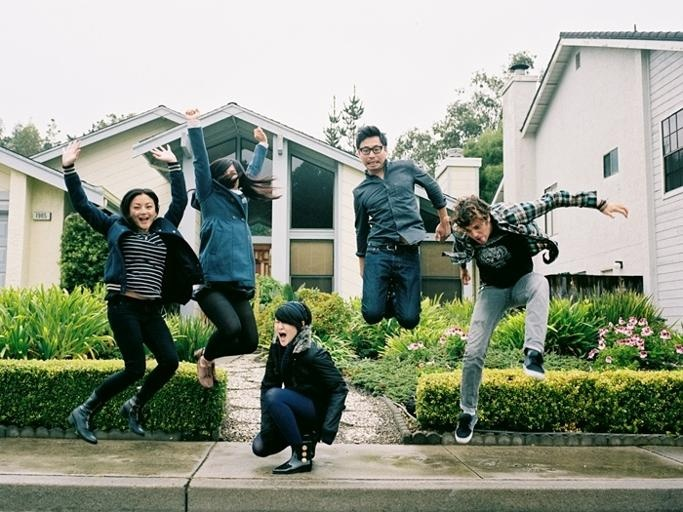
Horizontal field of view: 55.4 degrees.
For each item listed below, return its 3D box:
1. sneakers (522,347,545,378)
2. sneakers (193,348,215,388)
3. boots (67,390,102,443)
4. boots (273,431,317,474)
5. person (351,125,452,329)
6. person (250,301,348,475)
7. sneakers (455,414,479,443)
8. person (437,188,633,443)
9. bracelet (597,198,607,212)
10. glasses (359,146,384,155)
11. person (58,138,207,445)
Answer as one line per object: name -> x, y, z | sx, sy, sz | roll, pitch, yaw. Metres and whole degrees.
sneakers -> 1.772, 1.005, 5.993 | 0.168, 0.288, 0.207 | -1, -5, 13
sneakers -> -1.439, 1.186, 6.751 | 0.164, 0.421, 0.190 | -4, 6, 37
boots -> -2.418, 1.570, 6.226 | 0.392, 0.378, 0.168 | 45, -1, 20
boots -> -0.389, 1.854, 5.958 | 0.483, 0.389, 0.193 | 2, -8, -10
person -> 0.602, -0.293, 7.072 | 0.964, 2.169, 0.684 | 1, -5, 0
person -> -0.396, 1.262, 6.190 | 0.857, 1.563, 0.848 | 0, -6, 21
sneakers -> 1.278, 1.750, 6.622 | 0.151, 0.189, 0.464 | 8, 0, 12
person -> 1.704, 0.619, 6.262 | 1.291, 2.495, 0.602 | -1, -5, 21
bracelet -> 2.532, -0.484, 6.314 | 0.041, 0.119, 0.100 | 14, 6, -5
glasses -> 0.316, -1.126, 6.955 | 0.236, 0.097, 0.065 | 0, -5, 9
person -> -2.015, 0.349, 6.284 | 1.263, 2.864, 0.410 | 2, -5, -14
